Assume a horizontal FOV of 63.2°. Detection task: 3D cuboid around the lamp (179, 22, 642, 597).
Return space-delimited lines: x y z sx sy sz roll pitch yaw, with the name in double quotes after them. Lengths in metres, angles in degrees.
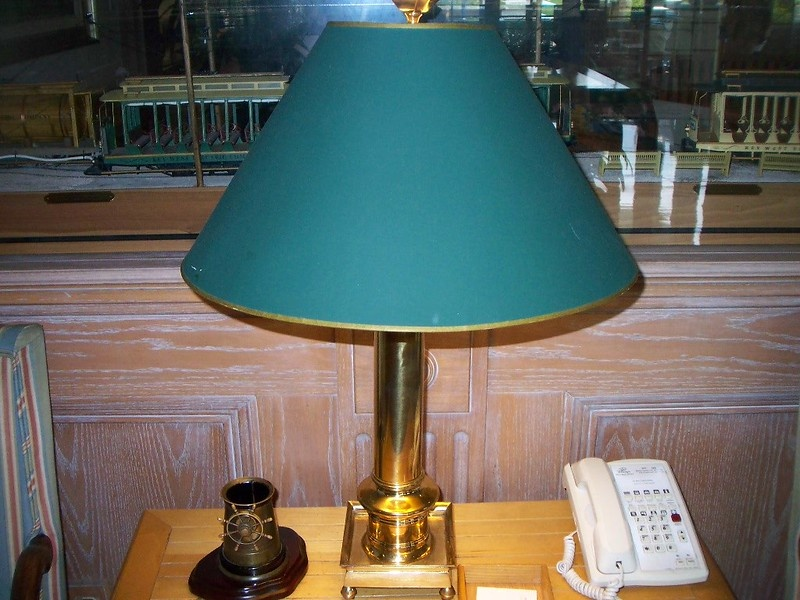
0.013 -0.046 0.974 0.566 0.759 0.555 1 15 1 "lamp"
